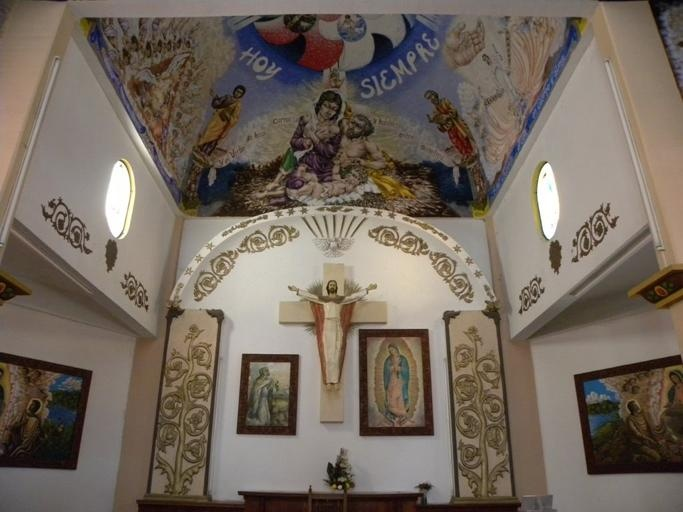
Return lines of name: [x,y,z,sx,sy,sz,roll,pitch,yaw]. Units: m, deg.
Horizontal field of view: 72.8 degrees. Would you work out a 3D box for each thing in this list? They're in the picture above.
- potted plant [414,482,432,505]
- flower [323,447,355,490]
potted plant: [1.301,3.698,7.205,0.246,0.294,0.258,3,-19,-7]
flower: [-0.024,3.291,7.152,0.486,0.625,0.533,0,-25,1]
